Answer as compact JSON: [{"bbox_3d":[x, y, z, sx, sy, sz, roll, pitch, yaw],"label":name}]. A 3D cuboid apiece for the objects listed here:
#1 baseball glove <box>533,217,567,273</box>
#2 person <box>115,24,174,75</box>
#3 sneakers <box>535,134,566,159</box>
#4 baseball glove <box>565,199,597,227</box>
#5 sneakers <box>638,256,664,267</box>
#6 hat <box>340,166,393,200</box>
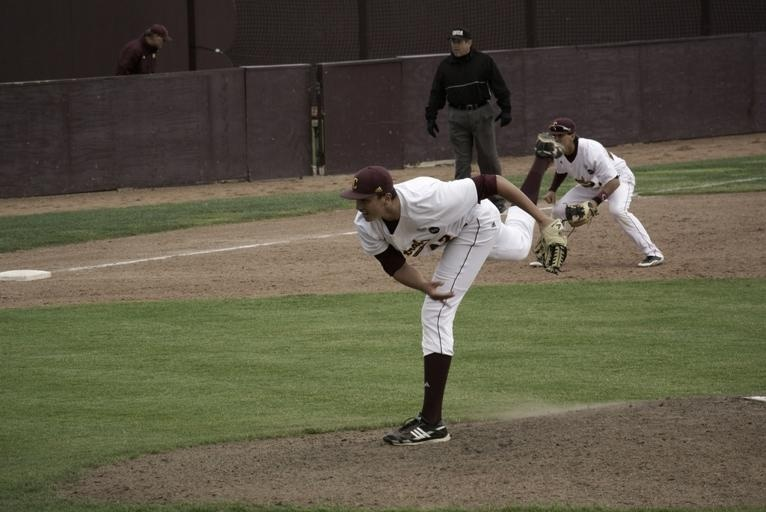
[{"bbox_3d":[1.783,-0.116,13.993,0.293,0.533,0.355,-6,-12,16],"label":"baseball glove"},{"bbox_3d":[-4.374,-3.721,23.478,0.826,0.840,1.634,-2,6,-17],"label":"person"},{"bbox_3d":[1.854,-1.206,14.159,0.313,0.111,0.231,4,22,-43],"label":"sneakers"},{"bbox_3d":[2.372,-0.500,15.647,0.276,0.196,0.434,30,25,18],"label":"baseball glove"},{"bbox_3d":[3.741,0.048,18.086,0.389,0.177,0.134,-7,16,-3],"label":"sneakers"},{"bbox_3d":[-0.162,-0.767,13.279,0.497,0.224,0.306,-9,25,-10],"label":"hat"}]
